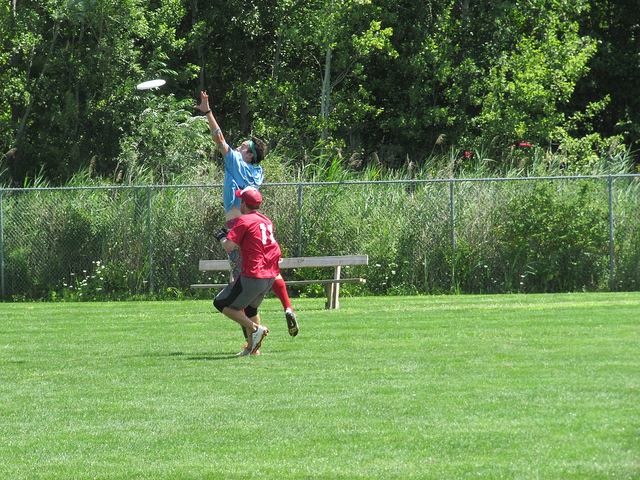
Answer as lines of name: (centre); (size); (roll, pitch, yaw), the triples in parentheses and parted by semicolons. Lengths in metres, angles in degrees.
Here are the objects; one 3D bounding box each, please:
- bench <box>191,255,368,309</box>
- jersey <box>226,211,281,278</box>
bench: (-0.809, 0.992, 28.466); (3.794, 1.413, 1.186); (-2, -4, 14)
jersey: (-1.145, 0.115, 24.869); (0.851, 1.300, 0.846); (-1, 2, 44)
